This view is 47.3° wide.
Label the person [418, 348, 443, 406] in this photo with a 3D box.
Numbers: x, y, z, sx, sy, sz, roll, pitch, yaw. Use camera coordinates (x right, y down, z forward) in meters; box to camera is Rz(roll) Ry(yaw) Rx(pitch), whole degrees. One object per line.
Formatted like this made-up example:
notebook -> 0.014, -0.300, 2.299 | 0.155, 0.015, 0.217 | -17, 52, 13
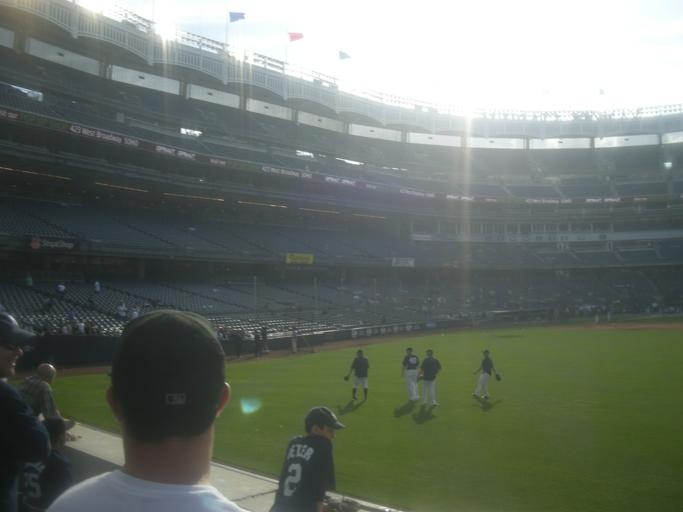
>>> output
person -> 4.477, 6.265, 40.050 | 0.981, 2.872, 1.190 | 0, -2, 6
